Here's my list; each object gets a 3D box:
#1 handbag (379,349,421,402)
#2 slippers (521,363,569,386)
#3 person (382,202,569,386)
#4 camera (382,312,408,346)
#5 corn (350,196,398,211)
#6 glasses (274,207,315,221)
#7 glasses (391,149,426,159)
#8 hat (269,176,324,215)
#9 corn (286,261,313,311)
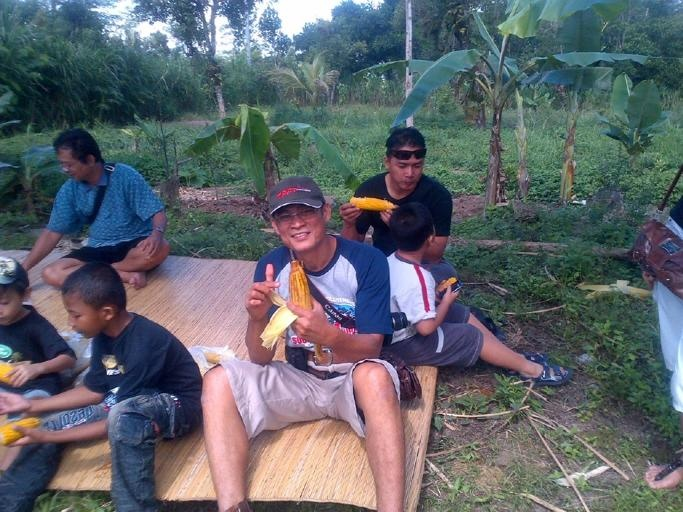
[{"bbox_3d":[0.416,0.878,3.596,0.213,0.372,0.382,-18,7,5],"label":"handbag"},{"bbox_3d":[1.744,1.018,4.270,0.434,0.178,0.169,0,49,8],"label":"slippers"},{"bbox_3d":[1.001,0.331,4.103,1.249,1.501,0.532,-2,15,-5],"label":"person"},{"bbox_3d":[0.396,0.572,3.815,0.144,0.106,0.268,23,40,32],"label":"camera"},{"bbox_3d":[0.312,-0.498,4.742,0.394,0.146,0.123,12,20,12],"label":"corn"},{"bbox_3d":[-0.318,-0.282,3.350,0.285,0.098,0.039,0,15,2],"label":"glasses"},{"bbox_3d":[0.624,-0.951,4.618,0.318,0.094,0.163,-1,14,-1],"label":"glasses"},{"bbox_3d":[-0.312,-0.417,3.414,0.379,0.254,0.261,-2,14,-6],"label":"hat"},{"bbox_3d":[-0.274,0.182,3.263,0.128,0.387,0.121,3,34,16],"label":"corn"}]
